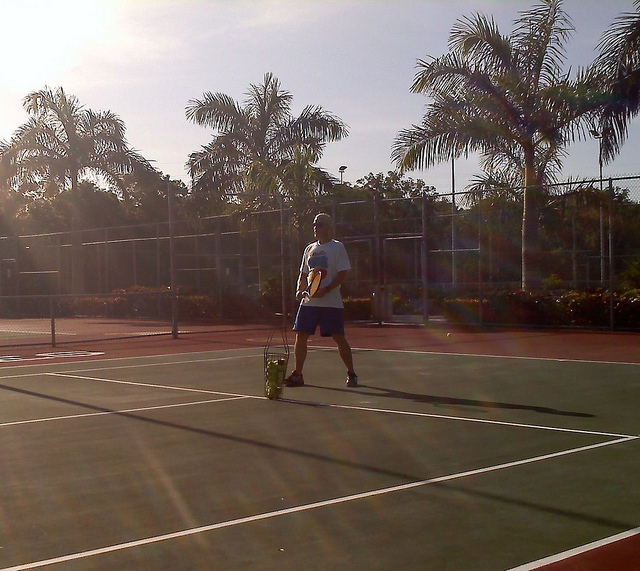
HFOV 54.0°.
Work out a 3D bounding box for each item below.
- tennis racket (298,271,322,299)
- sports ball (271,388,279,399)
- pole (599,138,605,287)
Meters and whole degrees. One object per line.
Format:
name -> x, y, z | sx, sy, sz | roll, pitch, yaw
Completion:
tennis racket -> -0.125, 0.002, 7.493 | 0.066, 0.290, 0.221 | 19, 26, -29
sports ball -> -0.487, 1.175, 6.903 | 0.083, 0.176, 0.087 | 0, 5, 0
pole -> 7.519, -1.908, 16.753 | 0.168, 4.144, 0.169 | 2, 19, 30
